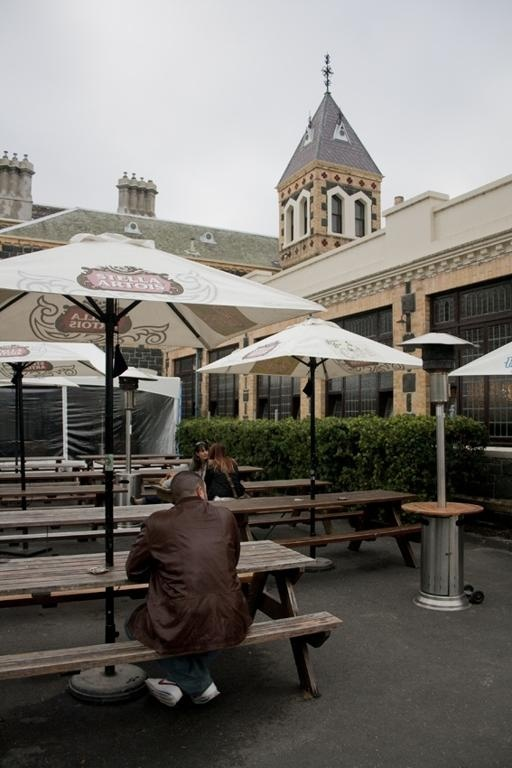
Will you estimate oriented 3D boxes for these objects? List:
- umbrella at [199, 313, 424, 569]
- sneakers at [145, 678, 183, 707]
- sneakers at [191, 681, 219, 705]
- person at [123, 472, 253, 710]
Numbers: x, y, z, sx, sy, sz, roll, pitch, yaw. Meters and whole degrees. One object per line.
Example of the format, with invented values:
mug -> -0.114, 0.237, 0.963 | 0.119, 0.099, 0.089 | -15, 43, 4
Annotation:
umbrella -> 0.477, 0.713, 8.333 | 2.941, 2.577, 2.675 | 2, 7, 25
sneakers -> -0.531, 1.773, 4.211 | 0.213, 0.118, 0.080 | 13, 39, 42
sneakers -> -0.292, 1.803, 4.227 | 0.177, 0.086, 0.108 | -32, 5, 27
person -> -0.399, 1.211, 4.197 | 0.779, 1.266, 0.782 | -1, -2, 2
